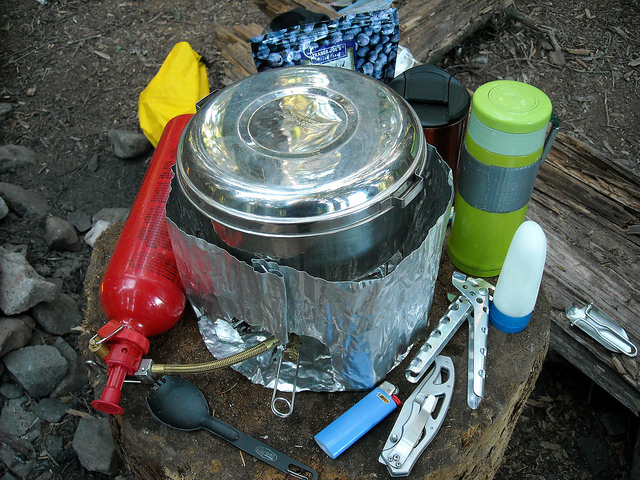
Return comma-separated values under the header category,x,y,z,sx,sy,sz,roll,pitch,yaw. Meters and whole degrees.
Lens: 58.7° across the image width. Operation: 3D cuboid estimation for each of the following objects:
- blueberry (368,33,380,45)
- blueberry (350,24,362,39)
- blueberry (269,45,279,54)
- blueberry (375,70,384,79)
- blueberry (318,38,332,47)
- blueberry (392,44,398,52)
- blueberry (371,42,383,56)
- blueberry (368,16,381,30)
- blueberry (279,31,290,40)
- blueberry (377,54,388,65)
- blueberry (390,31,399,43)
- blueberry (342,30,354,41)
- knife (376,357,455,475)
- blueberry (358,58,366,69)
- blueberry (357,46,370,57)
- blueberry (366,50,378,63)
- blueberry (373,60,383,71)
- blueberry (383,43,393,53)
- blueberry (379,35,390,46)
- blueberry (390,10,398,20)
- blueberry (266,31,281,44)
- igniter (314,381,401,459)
category,x,y,z,sx,sy,sz,roll,pitch,yaw
blueberry,0.182,-0.667,1.908,0.030,0.015,0.033,-12,83,-7
blueberry,0.120,-0.685,1.877,0.033,0.033,0.038,-5,74,6
blueberry,-0.147,-0.607,1.831,0.019,0.019,0.020,29,28,2
blueberry,0.210,-0.572,1.993,0.033,0.017,0.048,9,54,3
blueberry,0.012,-0.637,1.865,0.027,0.015,0.030,-4,60,4
blueberry,0.261,-0.666,1.982,0.025,0.025,0.028,5,69,8
blueberry,0.198,-0.641,1.930,0.026,0.034,0.015,28,17,-21
blueberry,0.182,-0.712,1.887,0.043,0.031,0.024,-4,56,1
blueberry,-0.113,-0.648,1.829,0.032,0.014,0.018,-8,57,-2
blueberry,0.224,-0.612,1.951,0.021,0.028,0.011,9,33,-7
blueberry,0.258,-0.693,1.952,0.028,0.034,0.019,8,39,-11
blueberry,0.091,-0.669,1.874,0.023,0.013,0.026,-3,70,1
knife,0.283,0.512,1.604,0.121,0.063,0.365,29,61,25
blueberry,0.144,-0.596,1.934,0.020,0.011,0.029,18,101,-10
blueberry,0.146,-0.629,1.918,0.028,0.027,0.031,1,79,-5
blueberry,0.183,-0.612,1.919,0.031,0.035,0.017,-14,21,-10
blueberry,0.202,-0.596,1.966,0.027,0.014,0.031,0,65,-3
blueberry,0.233,-0.648,1.942,0.024,0.018,0.028,42,101,-1
blueberry,0.220,-0.667,1.922,0.020,0.028,0.015,15,25,-7
blueberry,0.256,-0.754,1.932,0.028,0.012,0.041,15,69,9
blueberry,-0.149,-0.639,1.821,0.052,0.024,0.024,-25,59,-12
igniter,0.132,0.514,1.626,0.295,0.063,0.104,-28,29,-29
